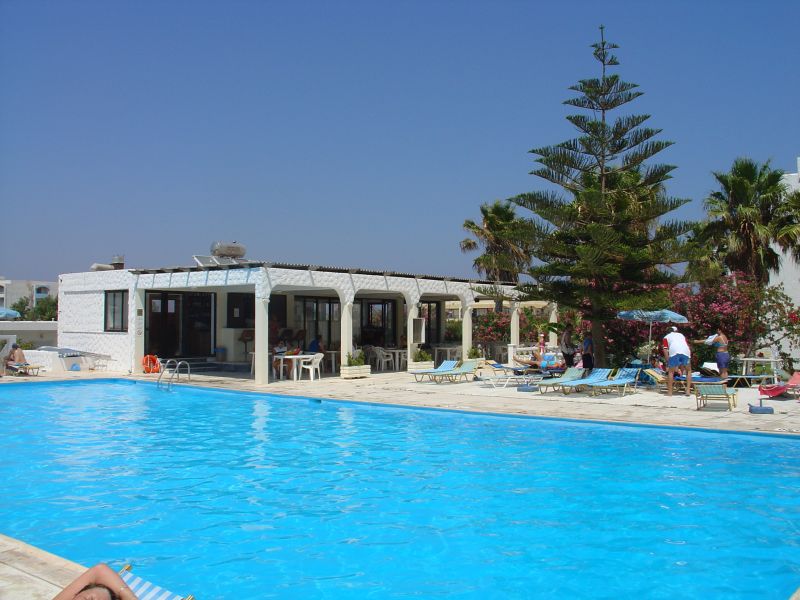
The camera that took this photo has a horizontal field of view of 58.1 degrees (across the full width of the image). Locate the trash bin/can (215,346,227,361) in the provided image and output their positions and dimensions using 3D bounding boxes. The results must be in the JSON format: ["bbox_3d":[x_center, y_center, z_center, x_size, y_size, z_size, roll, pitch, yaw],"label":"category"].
[{"bbox_3d":[-6.946,2.072,27.960,0.444,0.525,0.547,2,2,-15],"label":"trash bin/can"}]

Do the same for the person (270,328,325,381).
[{"bbox_3d":[-3.241,1.887,23.137,1.542,0.930,1.422,1,-2,-15],"label":"person"}]

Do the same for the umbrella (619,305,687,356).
[{"bbox_3d":[7.266,0.867,20.525,1.492,0.812,1.433,-1,4,-3],"label":"umbrella"}]

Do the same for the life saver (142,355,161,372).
[{"bbox_3d":[-8.518,2.191,24.659,0.294,0.570,0.558,-31,-23,37],"label":"life saver"}]
